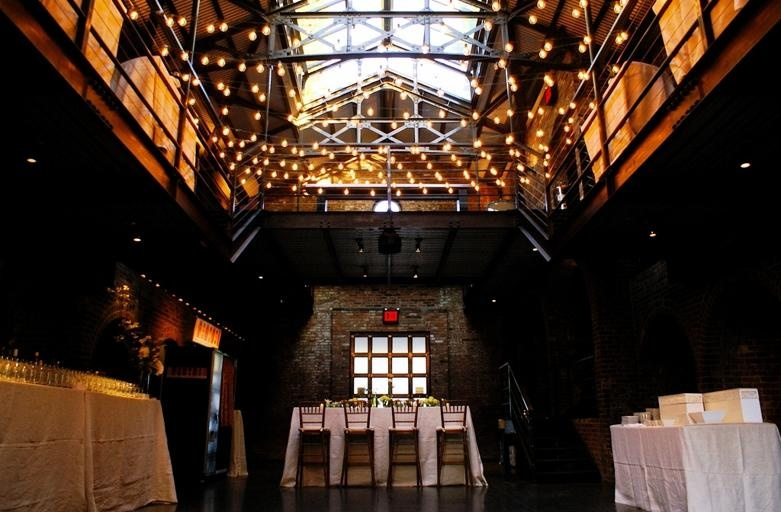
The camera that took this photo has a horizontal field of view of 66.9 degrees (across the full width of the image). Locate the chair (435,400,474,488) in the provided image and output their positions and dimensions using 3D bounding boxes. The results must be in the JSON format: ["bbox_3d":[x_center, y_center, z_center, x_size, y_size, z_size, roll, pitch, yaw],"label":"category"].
[{"bbox_3d":[1.037,3.022,9.541,0.584,1.300,0.312,-1,-12,5],"label":"chair"}]

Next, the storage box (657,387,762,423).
[{"bbox_3d":[3.530,1.677,6.566,0.320,0.395,1.036,8,-14,-34],"label":"storage box"}]

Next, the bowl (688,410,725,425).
[{"bbox_3d":[3.471,1.767,6.459,0.356,0.144,0.121,-7,-14,31],"label":"bowl"}]
